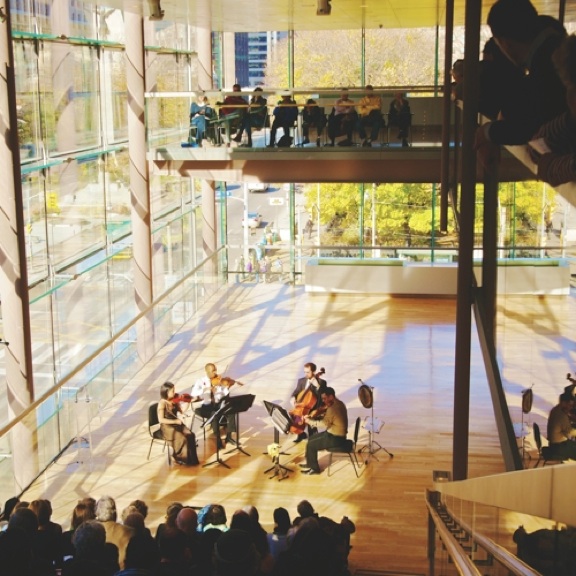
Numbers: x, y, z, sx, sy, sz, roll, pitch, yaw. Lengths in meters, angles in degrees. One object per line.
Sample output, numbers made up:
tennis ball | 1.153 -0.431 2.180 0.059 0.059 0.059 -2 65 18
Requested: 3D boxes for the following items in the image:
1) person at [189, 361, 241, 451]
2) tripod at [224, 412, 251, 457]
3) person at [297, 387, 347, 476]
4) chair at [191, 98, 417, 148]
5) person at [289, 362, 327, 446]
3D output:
person | -1.096 1.665 9.586 0.456 1.169 0.583 -18 26 -29
tripod | -0.780 2.079 9.363 0.401 0.694 0.493 0 -2 -4
person | 0.504 1.919 8.793 0.590 1.176 0.498 10 7 27
chair | 0.618 -3.252 12.632 3.735 0.964 0.443 2 11 9
person | 0.292 1.650 9.200 0.356 1.156 0.491 15 1 -40
